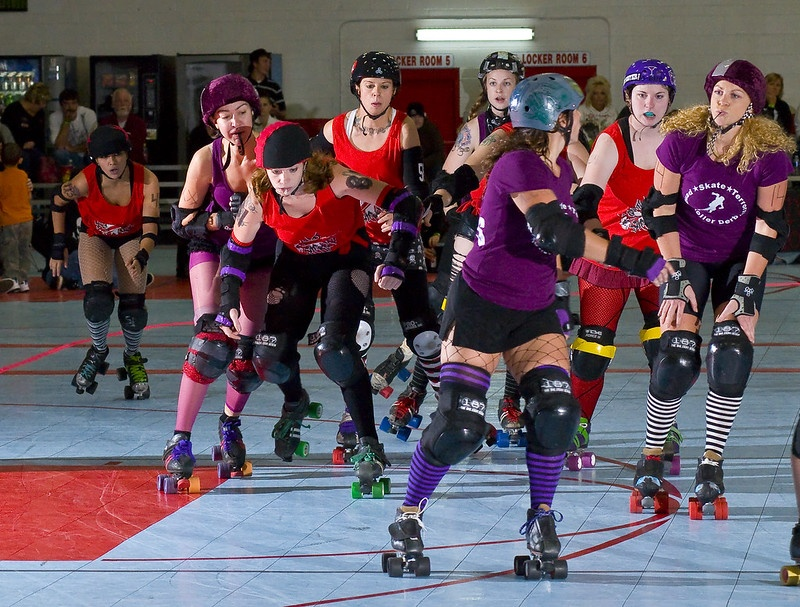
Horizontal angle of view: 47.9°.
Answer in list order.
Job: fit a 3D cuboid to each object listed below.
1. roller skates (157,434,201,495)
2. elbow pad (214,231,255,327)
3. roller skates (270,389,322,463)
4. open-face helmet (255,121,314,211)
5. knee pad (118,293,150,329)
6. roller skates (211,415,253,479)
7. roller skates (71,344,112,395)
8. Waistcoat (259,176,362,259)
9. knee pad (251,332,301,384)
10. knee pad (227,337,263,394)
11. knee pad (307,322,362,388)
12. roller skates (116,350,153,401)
[{"bbox_3d":[-1.180,0.840,4.784,0.152,0.268,0.414,6,5,-26],"label":"roller skates"},{"bbox_3d":[-0.884,-0.134,4.717,0.149,0.513,0.158,12,-9,-35],"label":"elbow pad"},{"bbox_3d":[-0.572,0.712,5.110,0.212,0.460,0.218,4,-2,21],"label":"roller skates"},{"bbox_3d":[-0.566,-0.765,4.331,0.280,0.234,0.204,0,9,3],"label":"open-face helmet"},{"bbox_3d":[-2.042,0.058,6.931,0.194,0.283,0.277,-1,-3,-7],"label":"knee pad"},{"bbox_3d":[-0.939,0.785,5.030,0.190,0.272,0.415,-4,13,-17],"label":"roller skates"},{"bbox_3d":[-2.321,0.555,6.896,0.166,0.510,0.224,26,-23,-9],"label":"roller skates"},{"bbox_3d":[-0.387,-0.445,4.618,0.448,0.318,0.570,-2,1,21],"label":"Waistcoat"},{"bbox_3d":[-0.663,0.287,4.749,0.189,0.261,0.262,0,20,27],"label":"knee pad"},{"bbox_3d":[-0.833,0.350,4.850,0.200,0.276,0.167,9,-36,-12],"label":"knee pad"},{"bbox_3d":[-0.305,0.255,4.585,0.234,0.318,0.146,-24,-14,29],"label":"knee pad"},{"bbox_3d":[-2.051,0.528,6.968,0.185,0.280,0.564,-4,26,-16],"label":"roller skates"}]
